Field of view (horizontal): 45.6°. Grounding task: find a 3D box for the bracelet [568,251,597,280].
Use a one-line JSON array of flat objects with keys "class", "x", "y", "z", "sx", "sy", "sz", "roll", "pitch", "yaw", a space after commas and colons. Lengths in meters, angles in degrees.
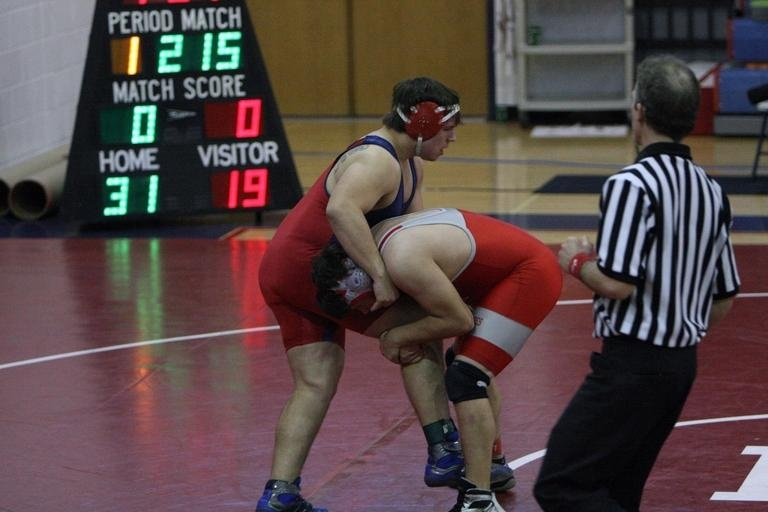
[{"class": "bracelet", "x": 0.786, "y": 0.032, "z": 3.639, "sx": 0.105, "sy": 0.089, "sz": 0.089, "roll": 41, "pitch": -4, "yaw": 45}]
